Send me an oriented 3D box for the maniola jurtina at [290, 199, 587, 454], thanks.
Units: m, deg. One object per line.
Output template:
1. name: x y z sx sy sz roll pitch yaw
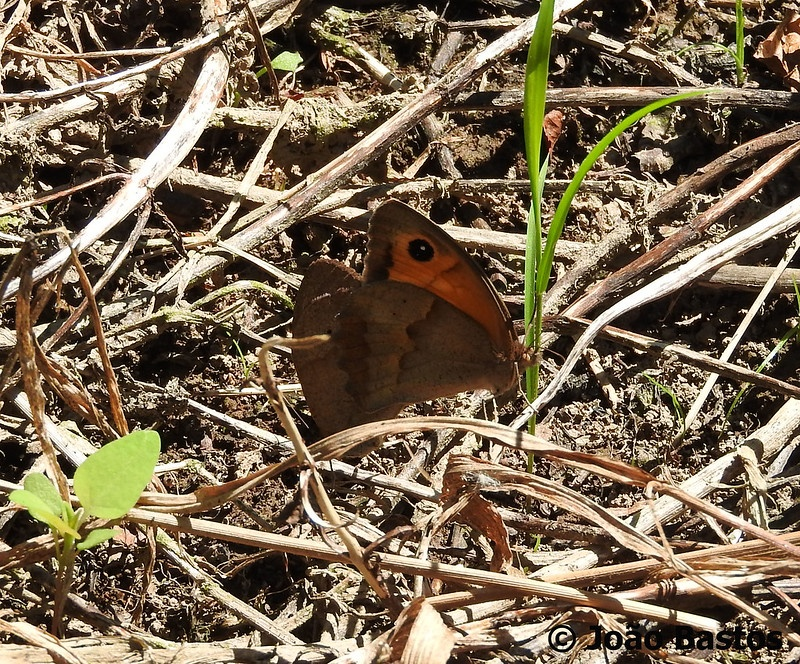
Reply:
1. maniola jurtina: -0.022 -0.063 2.632 0.747 0.676 0.543 -15 63 -7
